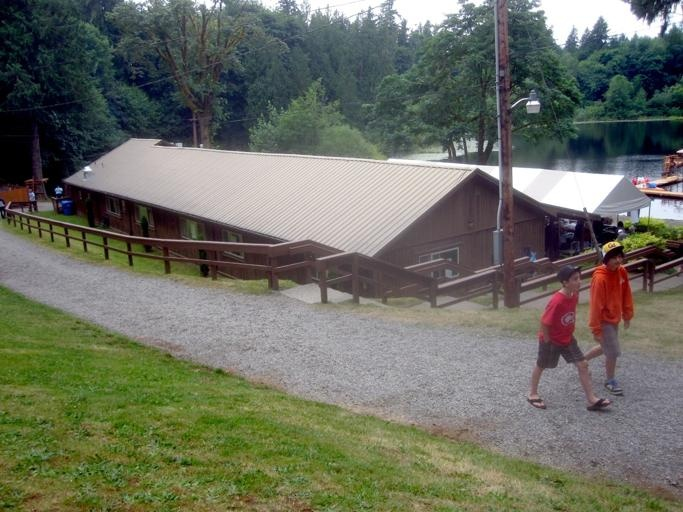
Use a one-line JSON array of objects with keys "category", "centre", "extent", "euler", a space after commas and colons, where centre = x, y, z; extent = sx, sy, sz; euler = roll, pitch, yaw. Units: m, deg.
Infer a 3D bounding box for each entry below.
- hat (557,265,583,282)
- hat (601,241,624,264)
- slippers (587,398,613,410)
[{"category": "hat", "centre": [4.045, 0.285, 12.041], "extent": [0.365, 0.186, 0.274], "euler": [-25, 3, -12]}, {"category": "hat", "centre": [4.870, -0.065, 12.296], "extent": [0.303, 0.340, 0.397], "euler": [-13, -3, -33]}, {"category": "slippers", "centre": [4.623, 2.658, 12.198], "extent": [0.375, 0.144, 0.192], "euler": [-7, 7, 15]}]
